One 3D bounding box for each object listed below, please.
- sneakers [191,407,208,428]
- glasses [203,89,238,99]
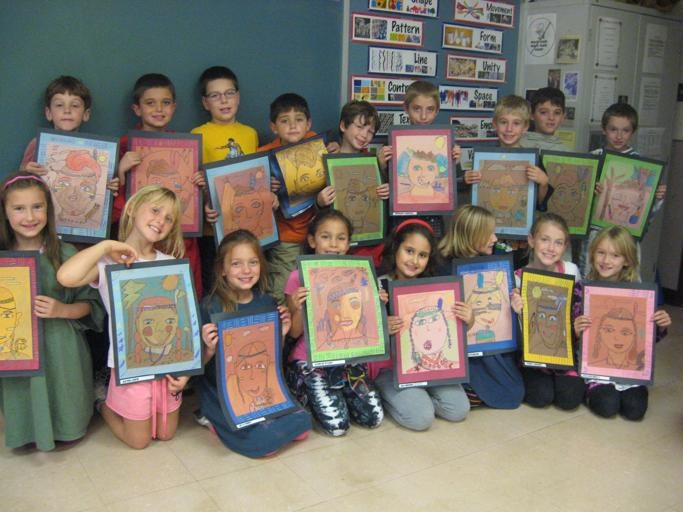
[{"bbox_3d":[-0.778,0.882,3.240,0.052,0.058,0.145,-21,34,-30],"label":"sneakers"},{"bbox_3d":[-0.781,-1.043,3.807,0.206,0.057,0.066,-7,14,-12],"label":"glasses"}]
